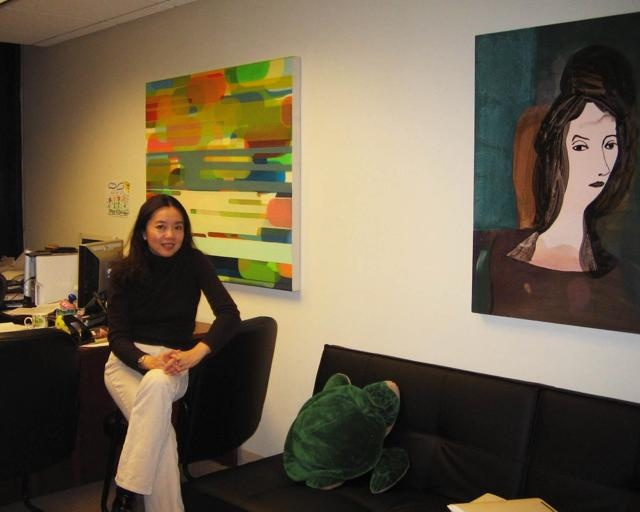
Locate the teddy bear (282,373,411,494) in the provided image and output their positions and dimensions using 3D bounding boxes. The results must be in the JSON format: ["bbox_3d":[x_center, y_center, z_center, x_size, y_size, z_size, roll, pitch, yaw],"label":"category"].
[{"bbox_3d":[0.100,0.870,2.524,0.661,0.248,0.738,-13,32,-9],"label":"teddy bear"}]

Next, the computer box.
[{"bbox_3d":[-1.982,0.157,3.602,0.348,0.387,0.236,-3,8,-34],"label":"computer box"}]

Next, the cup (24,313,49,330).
[{"bbox_3d":[-1.768,0.410,3.043,0.117,0.096,0.122,2,9,0],"label":"cup"}]

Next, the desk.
[{"bbox_3d":[-1.459,1.022,3.315,0.843,1.243,1.230,3,5,37],"label":"desk"}]

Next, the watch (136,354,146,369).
[{"bbox_3d":[-0.886,0.527,2.427,0.028,0.053,0.038,-1,-19,13],"label":"watch"}]
